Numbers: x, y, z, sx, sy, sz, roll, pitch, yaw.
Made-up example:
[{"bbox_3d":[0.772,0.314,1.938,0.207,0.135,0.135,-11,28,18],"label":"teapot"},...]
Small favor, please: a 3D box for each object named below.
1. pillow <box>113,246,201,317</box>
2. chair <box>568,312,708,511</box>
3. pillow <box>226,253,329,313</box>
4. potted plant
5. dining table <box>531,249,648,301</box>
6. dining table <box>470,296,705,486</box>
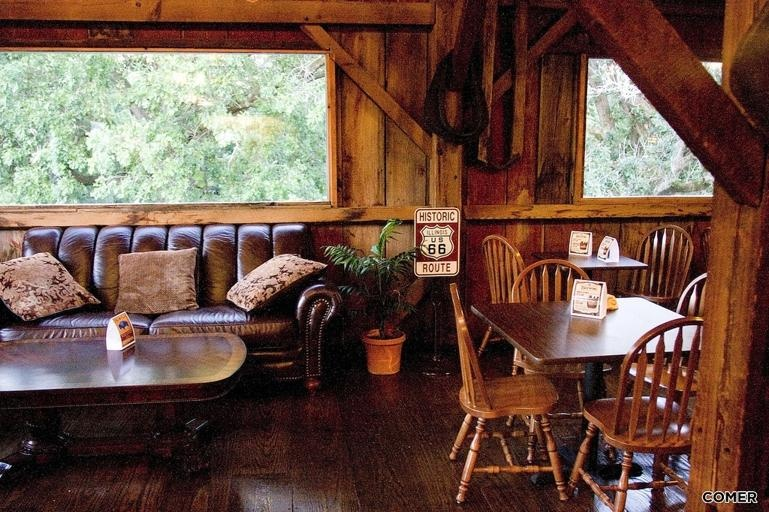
[{"bbox_3d":[-1.805,0.220,4.555,0.533,0.413,0.179,-2,-23,-4],"label":"pillow"},{"bbox_3d":[1.350,0.801,3.100,0.603,1.125,0.907,1,9,27],"label":"chair"},{"bbox_3d":[-0.735,0.131,4.537,0.428,0.123,0.440,-34,21,-27],"label":"pillow"},{"bbox_3d":[-0.087,0.302,4.806,0.779,1.204,0.751,-4,8,-5],"label":"potted plant"},{"bbox_3d":[1.779,0.059,4.783,0.579,0.519,0.557,-2,6,-6],"label":"dining table"},{"bbox_3d":[1.137,0.661,3.463,1.061,0.954,1.012,-4,17,-10],"label":"dining table"}]
